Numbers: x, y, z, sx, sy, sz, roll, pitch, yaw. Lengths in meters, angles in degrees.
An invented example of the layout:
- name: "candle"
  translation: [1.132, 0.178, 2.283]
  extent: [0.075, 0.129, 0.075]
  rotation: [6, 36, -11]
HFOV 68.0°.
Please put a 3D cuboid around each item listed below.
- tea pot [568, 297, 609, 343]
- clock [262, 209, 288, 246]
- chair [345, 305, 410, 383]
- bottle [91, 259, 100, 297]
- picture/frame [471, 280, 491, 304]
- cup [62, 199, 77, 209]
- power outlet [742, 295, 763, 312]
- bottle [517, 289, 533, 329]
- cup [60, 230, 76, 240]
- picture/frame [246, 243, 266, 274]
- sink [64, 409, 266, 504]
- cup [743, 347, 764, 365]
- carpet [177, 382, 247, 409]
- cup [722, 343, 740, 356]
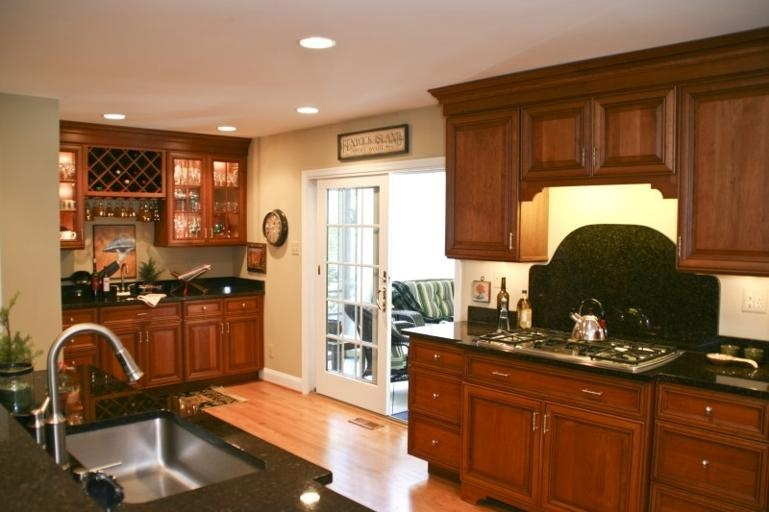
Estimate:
- name: "tea pot"
  translation: [1.447, 0.466, 4.142]
  extent: [0.322, 0.288, 0.252]
  rotation: [-3, 5, -13]
- name: "clock"
  translation: [-1.279, -0.320, 6.602]
  extent: [0.132, 0.383, 0.397]
  rotation: [-1, 30, -39]
- name: "chair"
  translation: [0.002, 0.941, 6.178]
  extent: [0.798, 0.903, 0.445]
  rotation: [-4, 4, -44]
- name: "bottle"
  translation: [-3.146, 0.239, 6.228]
  extent: [0.092, 0.352, 0.258]
  rotation: [-3, 4, -28]
- name: "picture/frame"
  translation: [0.815, 0.298, 4.805]
  extent: [0.196, 0.210, 0.031]
  rotation: [8, 9, 43]
- name: "cup"
  translation: [-3.179, -0.511, 5.754]
  extent: [0.145, 0.093, 0.067]
  rotation: [-4, 4, -38]
- name: "power outlet"
  translation: [2.369, 0.304, 3.671]
  extent: [0.112, 0.104, 0.011]
  rotation: [8, 8, 42]
- name: "bottle"
  translation: [1.093, 0.407, 4.503]
  extent: [0.101, 0.289, 0.230]
  rotation: [-1, 3, 10]
- name: "cup"
  translation: [-3.198, -0.208, 5.761]
  extent: [0.125, 0.079, 0.090]
  rotation: [3, -4, -34]
- name: "picture/frame"
  translation: [-1.550, 0.022, 6.925]
  extent: [0.392, 0.365, 0.033]
  rotation: [5, 6, 44]
- name: "sink"
  translation: [-1.030, 0.876, 2.626]
  extent: [0.652, 0.218, 0.501]
  rotation: [10, 12, 43]
- name: "cup"
  translation: [2.339, 0.629, 3.618]
  extent: [0.095, 0.070, 0.103]
  rotation: [0, 4, 0]
- name: "carpet"
  translation: [-1.900, 1.524, 6.218]
  extent: [0.519, 0.062, 0.662]
  rotation: [-4, 4, -41]
- name: "cup"
  translation: [2.241, 0.601, 3.705]
  extent: [0.078, 0.050, 0.076]
  rotation: [0, 7, 0]
